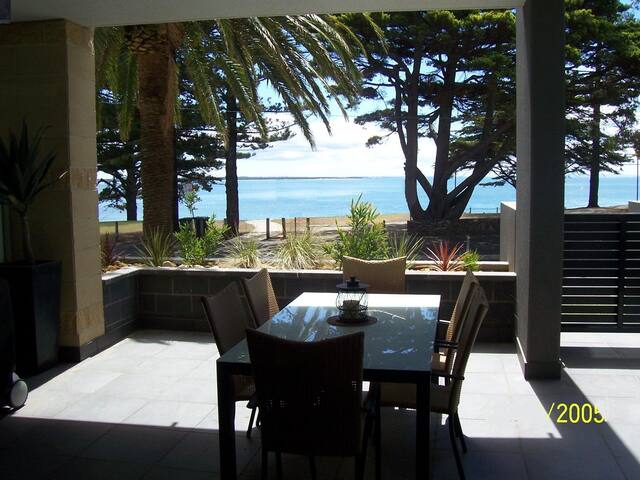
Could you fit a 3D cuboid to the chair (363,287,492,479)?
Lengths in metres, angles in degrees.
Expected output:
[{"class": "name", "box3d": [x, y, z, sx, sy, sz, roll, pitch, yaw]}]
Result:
[{"class": "chair", "box3d": [0.771, 0.942, 3.994, 1.017, 1.815, 1.106, 1, 1, 13]}]
